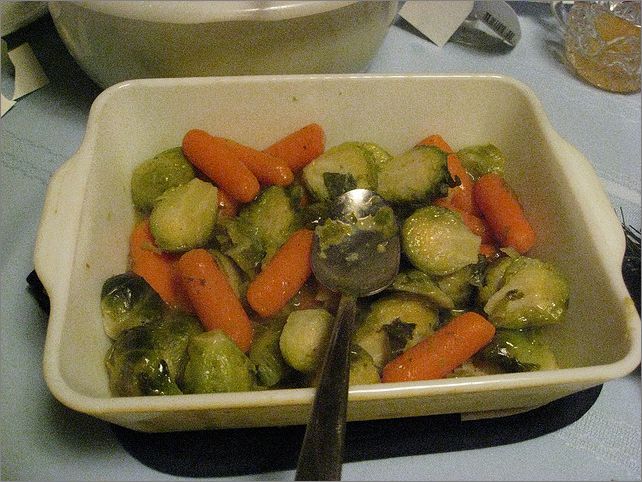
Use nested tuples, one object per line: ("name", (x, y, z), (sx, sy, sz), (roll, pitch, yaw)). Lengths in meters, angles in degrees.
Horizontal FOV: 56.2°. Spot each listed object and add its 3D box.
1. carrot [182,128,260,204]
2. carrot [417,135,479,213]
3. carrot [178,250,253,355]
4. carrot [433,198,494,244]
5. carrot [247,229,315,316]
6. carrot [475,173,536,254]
("carrot", (-0.247, -0.186, 1.532), (0.106, 0.092, 0.264), (-43, 81, -12))
("carrot", (0.355, -0.155, 1.606), (0.114, 0.072, 0.223), (-31, 87, -14))
("carrot", (-0.240, 0.126, 1.401), (0.118, 0.095, 0.275), (-31, 89, 9))
("carrot", (0.375, -0.035, 1.522), (0.117, 0.119, 0.040), (32, 104, -9))
("carrot", (-0.075, 0.072, 1.473), (0.101, 0.078, 0.230), (27, 65, 27))
("carrot", (0.450, -0.067, 1.524), (0.101, 0.074, 0.225), (-18, 76, -18))
